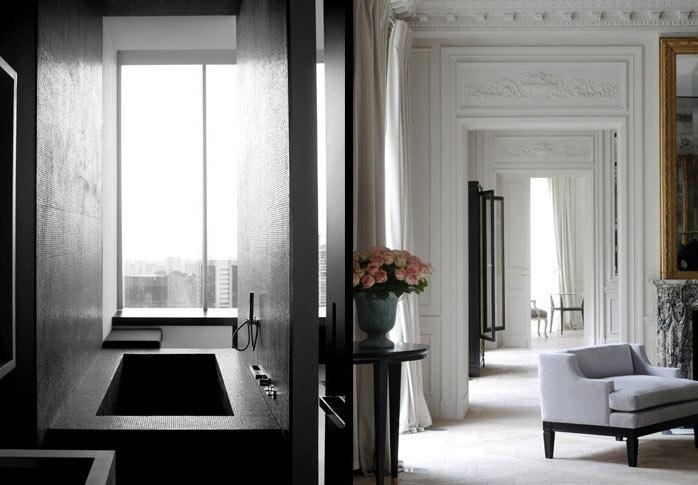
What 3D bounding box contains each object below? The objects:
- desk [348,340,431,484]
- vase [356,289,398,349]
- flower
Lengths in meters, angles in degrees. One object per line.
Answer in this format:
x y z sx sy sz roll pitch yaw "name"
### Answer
0.357 1.235 4.744 0.890 1.124 0.900 -1 -3 -2 "desk"
0.197 0.559 4.515 0.372 0.407 0.364 0 -10 0 "vase"
0.310 0.273 4.574 0.544 0.303 0.535 5 24 42 "flower"
